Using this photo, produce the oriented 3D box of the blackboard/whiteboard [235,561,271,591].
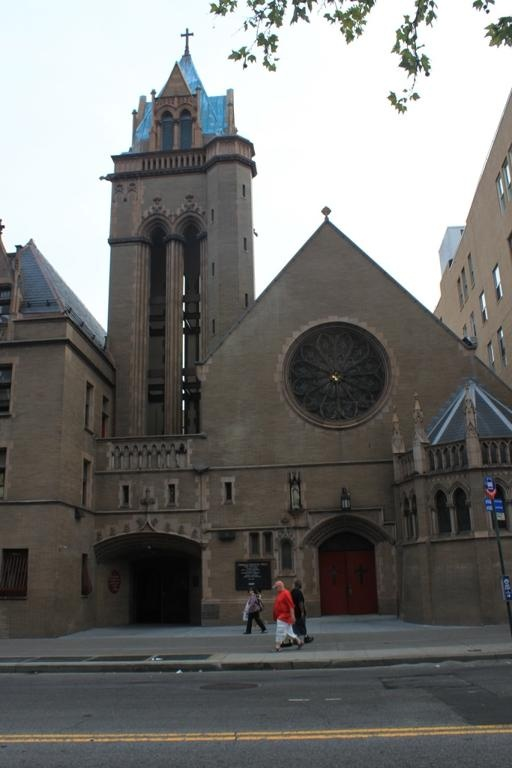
[{"bbox_3d":[-0.080,7.191,26.003,1.585,1.410,0.232,1,-20,-4],"label":"blackboard/whiteboard"}]
